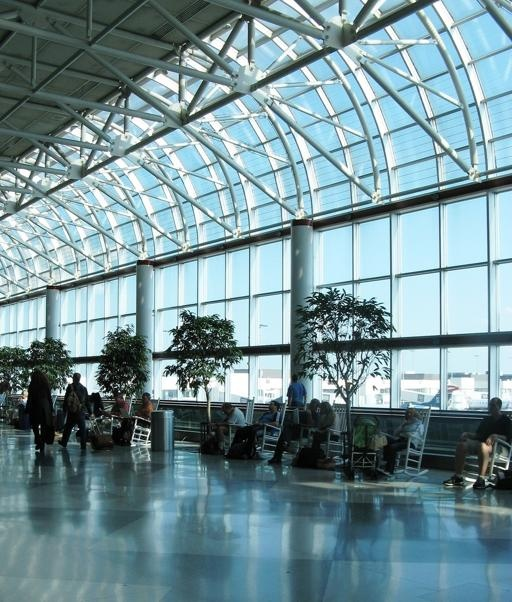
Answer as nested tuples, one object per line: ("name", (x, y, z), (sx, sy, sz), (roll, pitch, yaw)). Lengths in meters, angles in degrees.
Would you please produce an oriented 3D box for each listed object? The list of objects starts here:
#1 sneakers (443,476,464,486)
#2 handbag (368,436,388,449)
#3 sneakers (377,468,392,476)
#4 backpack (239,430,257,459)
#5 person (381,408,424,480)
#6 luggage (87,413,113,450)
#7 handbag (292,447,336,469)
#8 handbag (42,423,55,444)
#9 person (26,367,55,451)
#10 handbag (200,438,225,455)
("sneakers", (2.982, 2.714, 8.892), (0.369, 0.155, 0.130), (2, -16, 3))
("handbag", (2.065, 2.407, 10.037), (0.340, 0.279, 0.090), (2, 6, -27))
("sneakers", (2.198, 2.935, 10.111), (0.266, 0.086, 0.432), (1, -7, 12))
("backpack", (-0.189, 3.099, 12.667), (0.544, 0.668, 0.269), (3, -36, 0))
("person", (2.546, 2.455, 10.350), (0.650, 1.110, 0.956), (-1, -8, 29))
("luggage", (-4.181, 3.506, 15.803), (0.720, 1.153, 0.617), (17, -43, -31))
("handbag", (1.077, 2.987, 11.136), (0.410, 0.196, 0.529), (7, -10, -23))
("handbag", (-4.950, 3.123, 14.003), (0.263, 0.172, 0.788), (-16, -29, -16))
("person", (-4.859, 2.450, 13.222), (0.581, 1.717, 0.509), (2, -15, -30))
("handbag", (-1.028, 3.358, 13.552), (0.334, 0.388, 0.423), (10, -29, -34))
